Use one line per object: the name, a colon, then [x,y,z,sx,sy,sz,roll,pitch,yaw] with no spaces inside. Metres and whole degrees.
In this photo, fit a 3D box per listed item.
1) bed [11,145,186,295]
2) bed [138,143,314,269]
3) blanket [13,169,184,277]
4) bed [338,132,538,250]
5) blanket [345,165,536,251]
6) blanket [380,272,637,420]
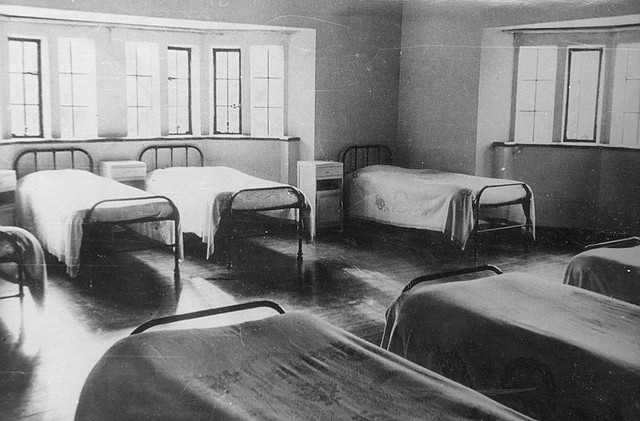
bed: [-1.214,0.000,2.585,0.950,0.540,0.540,16,17,41]
bed: [-0.529,-0.086,2.584,0.505,0.435,0.881,-12,21,-43]
blanket: [-1.148,0.011,2.422,0.759,0.314,0.437,21,25,35]
bed: [0.572,-0.094,2.688,0.945,0.469,0.633,14,23,41]
blanket: [0.560,-0.070,2.657,0.775,0.278,0.502,9,14,38]
blanket: [1.006,0.539,2.330,0.875,0.312,0.848,-5,7,-32]
